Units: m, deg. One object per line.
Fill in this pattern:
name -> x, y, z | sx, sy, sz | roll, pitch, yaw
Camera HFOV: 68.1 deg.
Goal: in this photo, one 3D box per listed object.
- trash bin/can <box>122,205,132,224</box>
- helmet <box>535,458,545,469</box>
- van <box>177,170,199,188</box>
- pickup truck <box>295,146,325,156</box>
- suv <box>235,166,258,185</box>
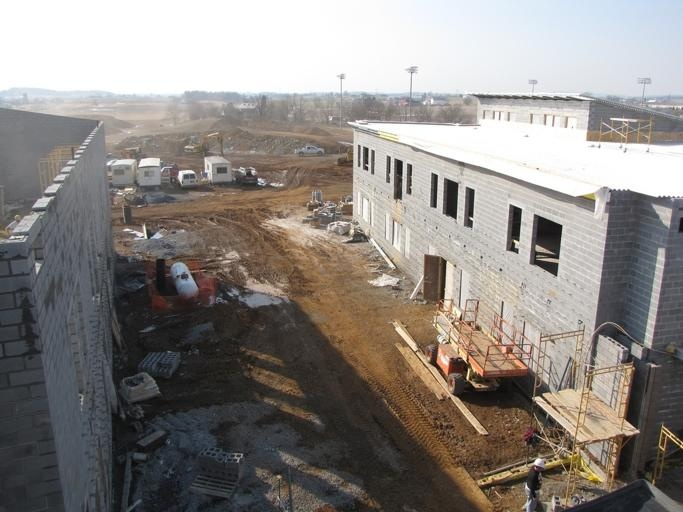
trash bin/can -> -16.428, -3.095, 38.654 | 0.592, 1.377, 0.937 | -11, 21, -26
helmet -> 5.511, 5.851, 14.058 | 0.313, 0.199, 0.413 | 7, 5, 18
van -> -16.186, -8.013, 53.043 | 1.575, 1.647, 2.209 | -10, 20, -24
pickup truck -> -4.943, -16.496, 79.020 | 4.068, 1.316, 3.614 | -4, 17, -10
suv -> -10.967, -9.117, 58.001 | 2.786, 0.893, 3.792 | -1, 22, -14
